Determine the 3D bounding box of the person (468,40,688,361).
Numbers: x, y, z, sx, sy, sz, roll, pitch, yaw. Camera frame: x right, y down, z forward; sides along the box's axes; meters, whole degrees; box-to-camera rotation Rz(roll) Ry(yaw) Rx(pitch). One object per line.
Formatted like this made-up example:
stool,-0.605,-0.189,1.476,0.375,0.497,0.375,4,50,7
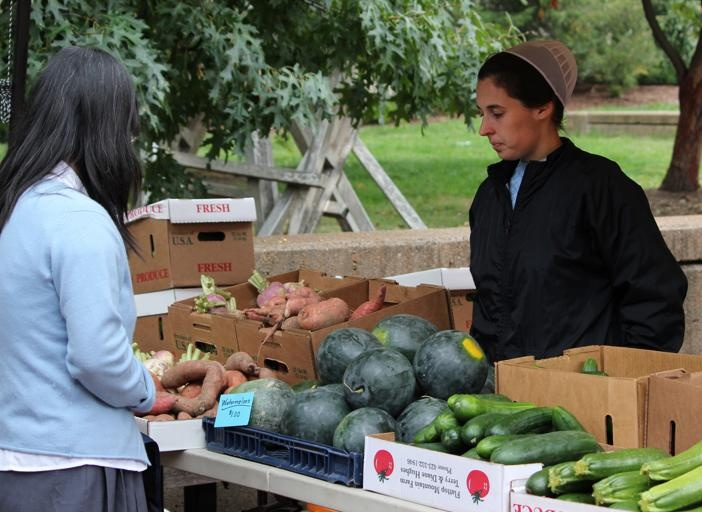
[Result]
person,1.010,-0.151,4.030,0.668,1.721,1.258,-12,13,-35

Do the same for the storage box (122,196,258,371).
storage box,-1.013,0.111,5.202,1.026,0.867,0.971,-3,3,-1

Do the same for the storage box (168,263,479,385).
storage box,-0.313,0.284,4.331,0.807,0.577,1.420,6,9,41

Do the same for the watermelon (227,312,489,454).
watermelon,0.069,0.510,3.213,0.627,0.222,0.596,-16,11,-42
